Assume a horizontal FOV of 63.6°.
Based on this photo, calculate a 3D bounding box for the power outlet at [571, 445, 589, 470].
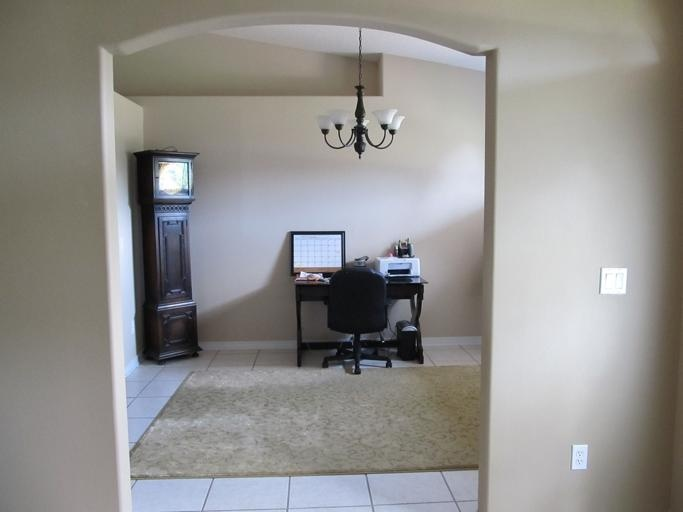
[{"bbox_3d":[1.276,1.080,2.966,0.118,0.183,0.019,0,2,0],"label":"power outlet"}]

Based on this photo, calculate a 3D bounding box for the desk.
[{"bbox_3d":[0.151,0.650,5.748,1.257,0.899,0.717,-3,8,-7],"label":"desk"}]

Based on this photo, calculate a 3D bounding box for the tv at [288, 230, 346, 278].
[{"bbox_3d":[-0.287,-0.029,5.776,0.444,0.421,0.047,0,1,-2],"label":"tv"}]

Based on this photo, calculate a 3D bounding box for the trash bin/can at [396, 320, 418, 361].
[{"bbox_3d":[0.624,0.824,5.719,0.261,0.451,0.453,-1,3,-1],"label":"trash bin/can"}]

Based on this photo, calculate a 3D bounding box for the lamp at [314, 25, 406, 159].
[{"bbox_3d":[0.166,-1.522,4.914,0.705,1.239,0.706,-1,-4,25],"label":"lamp"}]

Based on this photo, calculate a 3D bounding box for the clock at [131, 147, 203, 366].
[{"bbox_3d":[-1.699,0.015,5.430,0.603,2.082,0.370,-4,12,-17],"label":"clock"}]

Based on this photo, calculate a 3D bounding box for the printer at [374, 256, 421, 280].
[{"bbox_3d":[0.580,0.114,5.714,0.303,0.216,0.241,0,1,-1],"label":"printer"}]

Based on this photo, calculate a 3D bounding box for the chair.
[{"bbox_3d":[0.142,0.606,5.472,0.825,1.330,0.874,1,1,2],"label":"chair"}]

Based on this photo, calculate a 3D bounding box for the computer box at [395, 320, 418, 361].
[{"bbox_3d":[0.696,0.855,5.710,0.269,0.333,0.347,1,4,-1],"label":"computer box"}]

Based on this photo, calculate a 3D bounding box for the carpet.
[{"bbox_3d":[-0.185,1.252,4.488,2.600,0.065,1.784,-1,12,-2],"label":"carpet"}]
